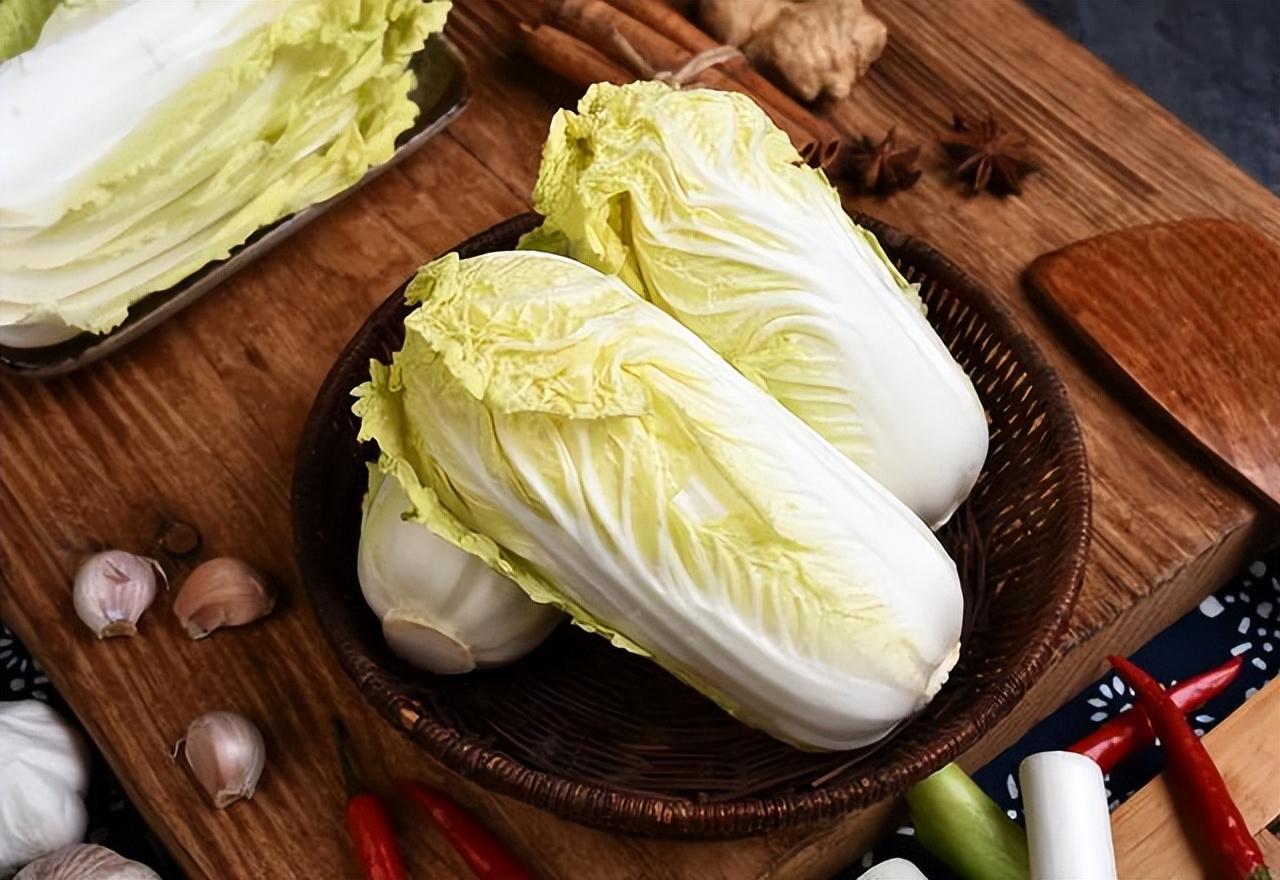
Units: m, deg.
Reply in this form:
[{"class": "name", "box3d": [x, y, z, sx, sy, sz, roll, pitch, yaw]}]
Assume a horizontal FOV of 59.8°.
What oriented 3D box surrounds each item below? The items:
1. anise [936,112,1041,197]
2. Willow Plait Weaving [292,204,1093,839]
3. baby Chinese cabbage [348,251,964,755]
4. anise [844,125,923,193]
[{"class": "anise", "box3d": [0.951, -0.778, 3.088, 0.240, 0.076, 0.247, -28, 67, -11]}, {"class": "Willow Plait Weaving", "box3d": [0.092, 0.208, 2.425, 1.443, 0.399, 1.466, -32, 66, -15]}, {"class": "baby Chinese cabbage", "box3d": [0.051, 0.135, 2.271, 1.358, 0.444, 0.613, 32, 78, 9]}, {"class": "anise", "box3d": [0.665, -0.743, 3.095, 0.182, 0.060, 0.192, -23, 77, 7]}]
